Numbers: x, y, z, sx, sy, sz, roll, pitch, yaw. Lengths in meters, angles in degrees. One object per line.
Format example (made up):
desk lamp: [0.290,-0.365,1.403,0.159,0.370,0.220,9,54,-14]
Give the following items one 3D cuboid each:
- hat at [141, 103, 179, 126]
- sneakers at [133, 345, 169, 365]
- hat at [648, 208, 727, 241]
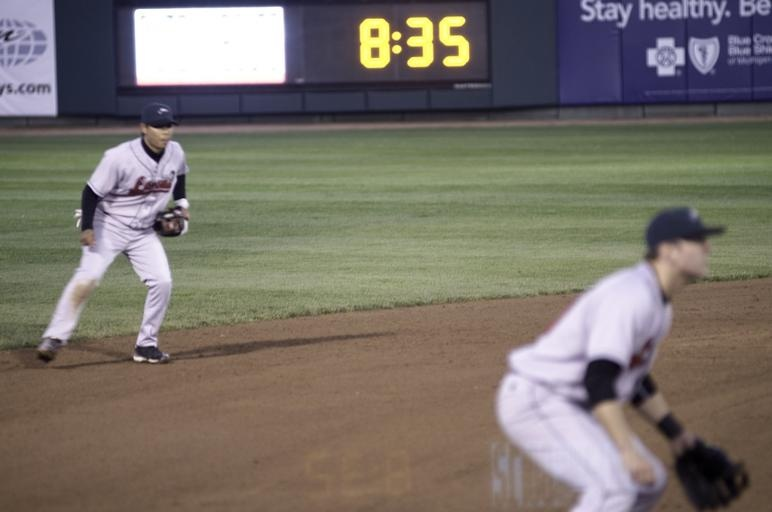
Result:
hat: [-2.879,-1.753,14.530,0.361,0.191,0.271,5,10,42]
sneakers: [-2.996,1.269,14.933,0.409,0.190,0.210,1,1,18]
hat: [3.003,-0.292,11.996,0.572,0.268,0.404,-15,-1,11]
